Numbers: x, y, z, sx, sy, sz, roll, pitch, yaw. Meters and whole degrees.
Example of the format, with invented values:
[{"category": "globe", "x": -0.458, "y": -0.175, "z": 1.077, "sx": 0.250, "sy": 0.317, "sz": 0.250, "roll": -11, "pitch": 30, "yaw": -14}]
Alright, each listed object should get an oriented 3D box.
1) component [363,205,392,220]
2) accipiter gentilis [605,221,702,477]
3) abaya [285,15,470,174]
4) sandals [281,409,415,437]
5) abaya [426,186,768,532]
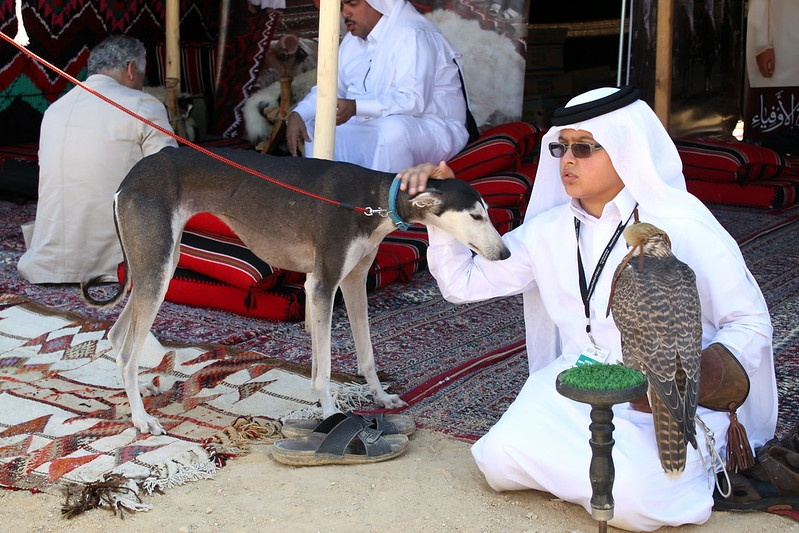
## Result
[{"category": "component", "x": -0.111, "y": -0.283, "z": 3.896, "sx": 0.147, "sy": 0.046, "sz": 0.038, "roll": 3, "pitch": -17, "yaw": -6}, {"category": "accipiter gentilis", "x": 1.053, "y": 0.330, "z": 3.254, "sx": 0.402, "sy": 0.989, "sz": 0.412, "roll": 0, "pitch": 2, "yaw": 14}, {"category": "abaya", "x": -0.026, "y": -1.457, "z": 7.071, "sx": 1.640, "sy": 2.073, "sz": 1.760, "roll": -1, "pitch": -1, "yaw": -3}, {"category": "sandals", "x": -0.262, "y": 0.853, "z": 4.042, "sx": 0.674, "sy": 0.148, "sz": 0.236, "roll": -3, "pitch": 2, "yaw": 0}, {"category": "abaya", "x": 0.952, "y": 0.501, "z": 4.084, "sx": 1.368, "sy": 1.381, "sz": 2.003, "roll": -5, "pitch": -5, "yaw": 21}]
